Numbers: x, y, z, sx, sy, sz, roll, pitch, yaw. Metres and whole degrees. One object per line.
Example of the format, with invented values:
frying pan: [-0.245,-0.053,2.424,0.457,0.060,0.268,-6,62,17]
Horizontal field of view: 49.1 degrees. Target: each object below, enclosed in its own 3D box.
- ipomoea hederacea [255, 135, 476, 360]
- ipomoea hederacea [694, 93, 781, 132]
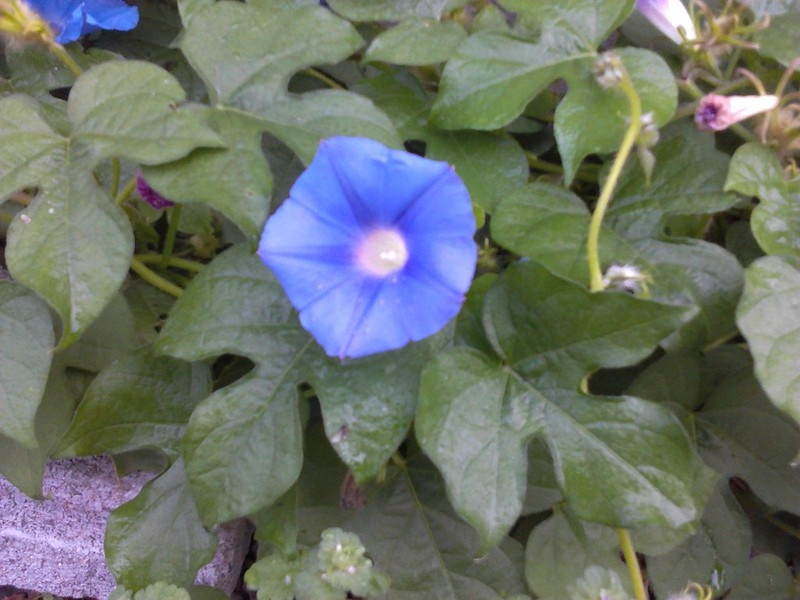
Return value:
ipomoea hederacea: [-0.059,-0.082,1.547,0.365,0.165,0.355,21,72,-6]
ipomoea hederacea: [0.676,-0.382,1.760,0.151,0.066,0.076,-8,104,2]
